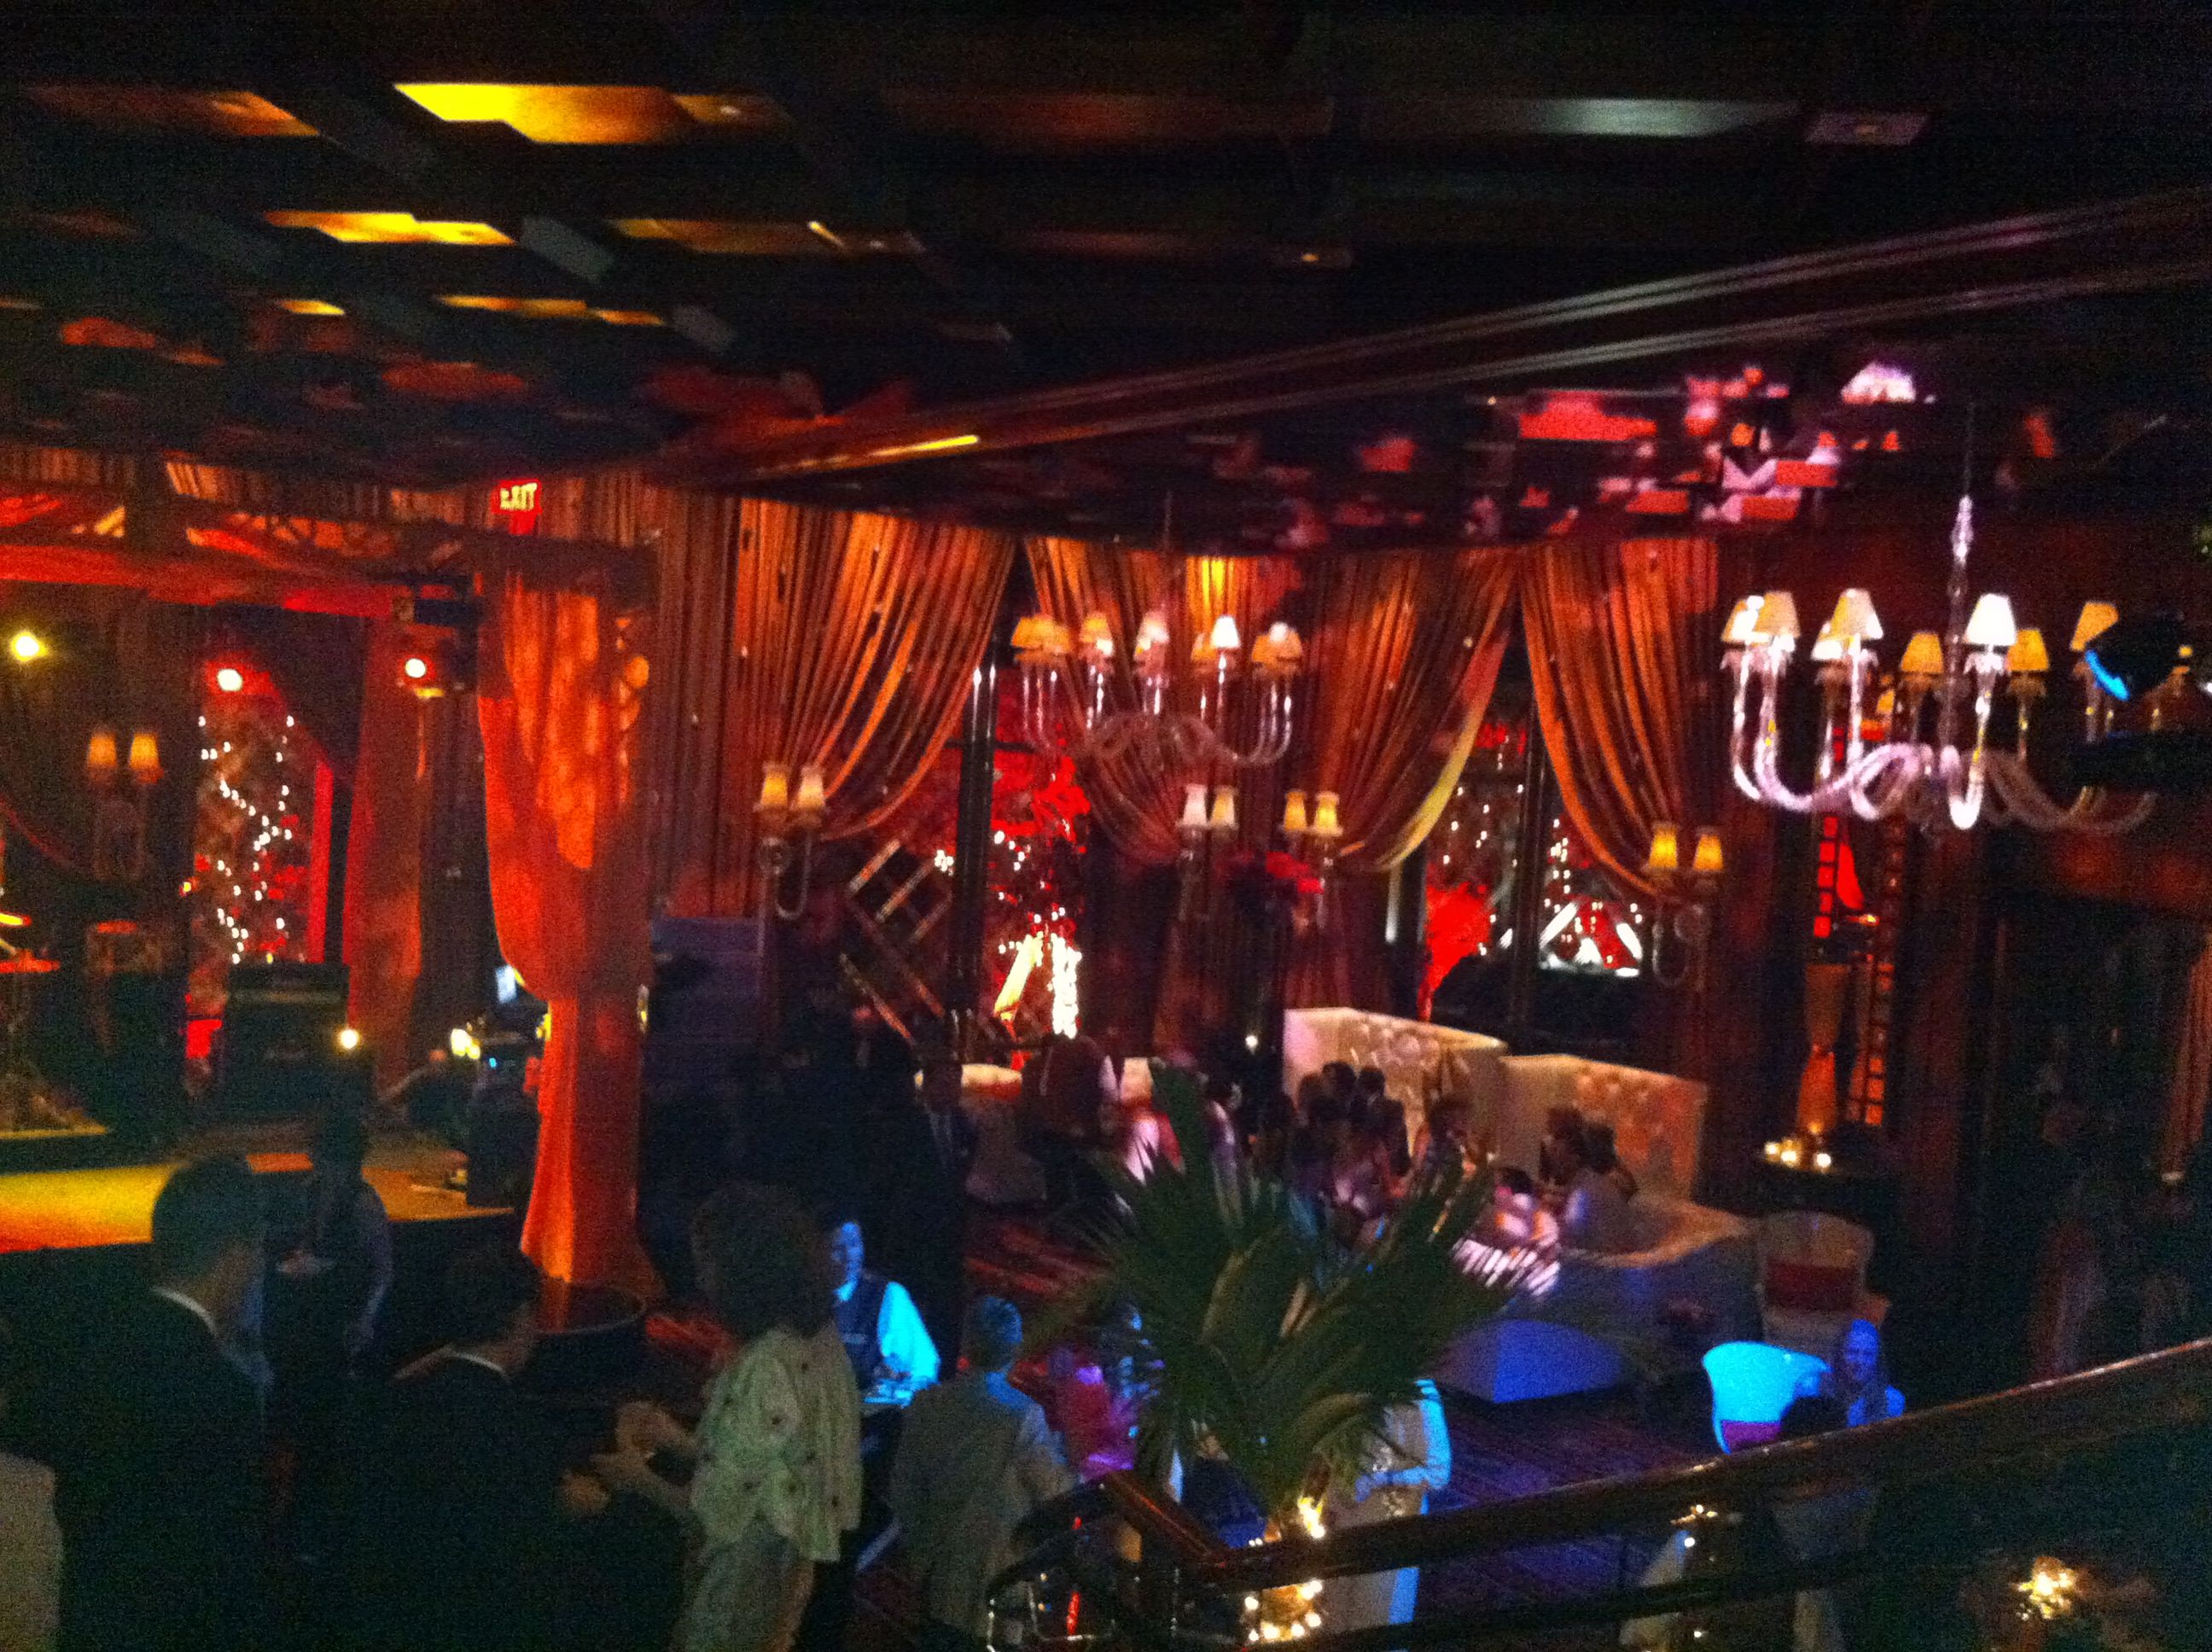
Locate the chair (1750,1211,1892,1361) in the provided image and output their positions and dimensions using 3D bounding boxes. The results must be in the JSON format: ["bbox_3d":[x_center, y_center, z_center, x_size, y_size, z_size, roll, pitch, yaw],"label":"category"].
[{"bbox_3d":[2.890,1.952,7.479,0.502,0.592,0.491,6,4,22],"label":"chair"}]

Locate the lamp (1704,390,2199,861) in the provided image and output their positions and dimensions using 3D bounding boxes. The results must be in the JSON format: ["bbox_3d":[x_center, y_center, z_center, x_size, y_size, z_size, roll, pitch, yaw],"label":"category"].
[{"bbox_3d":[3.483,-0.779,7.724,1.608,1.683,1.748,6,9,26],"label":"lamp"}]

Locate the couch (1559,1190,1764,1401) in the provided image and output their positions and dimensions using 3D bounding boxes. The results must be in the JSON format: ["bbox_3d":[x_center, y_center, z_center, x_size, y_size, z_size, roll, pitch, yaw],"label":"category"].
[{"bbox_3d":[2.348,2.045,8.061,0.801,0.570,0.808,0,-2,14],"label":"couch"}]

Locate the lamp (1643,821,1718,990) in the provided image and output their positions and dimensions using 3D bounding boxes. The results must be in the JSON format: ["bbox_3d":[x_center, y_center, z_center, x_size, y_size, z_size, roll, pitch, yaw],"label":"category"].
[{"bbox_3d":[2.900,0.492,9.046,0.434,0.927,0.317,-1,-4,23],"label":"lamp"}]

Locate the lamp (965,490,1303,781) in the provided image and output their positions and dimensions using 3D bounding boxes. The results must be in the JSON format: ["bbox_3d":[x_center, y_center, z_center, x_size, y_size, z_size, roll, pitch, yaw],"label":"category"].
[{"bbox_3d":[0.316,-1.262,10.940,1.761,2.024,1.663,2,5,-10],"label":"lamp"}]
